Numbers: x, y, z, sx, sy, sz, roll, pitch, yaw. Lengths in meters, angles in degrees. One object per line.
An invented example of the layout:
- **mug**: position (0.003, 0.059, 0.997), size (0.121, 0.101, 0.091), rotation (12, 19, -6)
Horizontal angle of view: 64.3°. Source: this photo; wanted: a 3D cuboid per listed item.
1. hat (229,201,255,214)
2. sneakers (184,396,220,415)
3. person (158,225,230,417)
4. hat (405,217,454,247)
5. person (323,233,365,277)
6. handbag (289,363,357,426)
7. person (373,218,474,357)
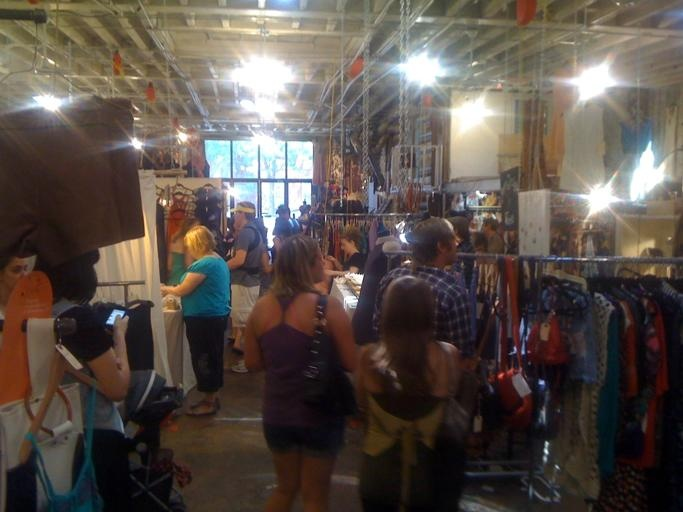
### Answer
- **hat**: position (-1.191, -0.577, 6.592), size (0.275, 0.166, 0.240), rotation (-1, 5, 10)
- **sneakers**: position (-1.255, 1.380, 4.949), size (0.213, 0.093, 0.169), rotation (2, 0, -20)
- **person**: position (-1.290, 0.587, 4.945), size (0.572, 1.717, 0.534), rotation (-3, 4, -21)
- **hat**: position (0.520, -0.148, 3.186), size (0.205, 0.106, 0.160), rotation (-5, 3, -2)
- **person**: position (0.044, 0.015, 6.706), size (0.446, 0.886, 0.495), rotation (7, -1, 2)
- **handbag**: position (-0.097, 0.685, 2.866), size (0.368, 0.425, 0.220), rotation (-1, -3, -1)
- **person**: position (0.447, 0.178, 2.959), size (0.433, 0.863, 0.602), rotation (-9, 14, -36)
